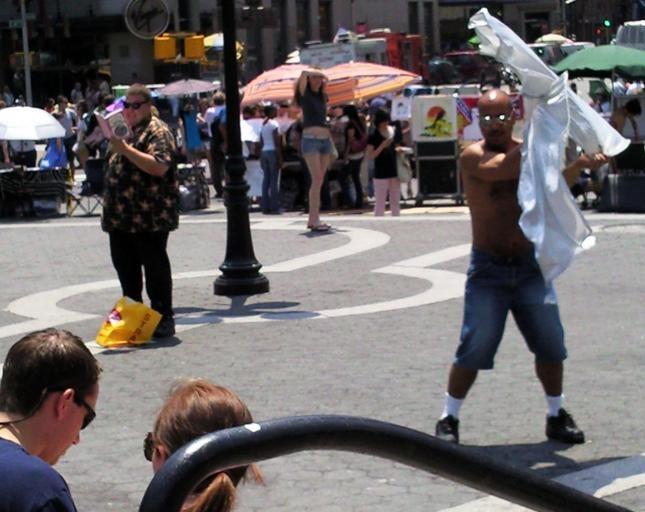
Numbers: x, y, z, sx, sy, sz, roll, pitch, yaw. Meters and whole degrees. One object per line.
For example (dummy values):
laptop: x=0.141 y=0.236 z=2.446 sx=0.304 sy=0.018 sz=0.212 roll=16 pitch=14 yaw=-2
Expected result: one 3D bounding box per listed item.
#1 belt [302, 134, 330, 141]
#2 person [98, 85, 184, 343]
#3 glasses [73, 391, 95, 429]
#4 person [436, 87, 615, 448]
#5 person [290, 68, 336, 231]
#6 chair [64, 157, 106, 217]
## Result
belt: x=-0.066 y=-1.412 z=15.576 sx=0.327 sy=0.084 sz=0.154 roll=-2 pitch=9 yaw=-6
person: x=-1.482 y=-0.323 z=10.383 sx=0.596 sy=2.030 sz=0.794 roll=2 pitch=10 yaw=18
glasses: x=-0.966 y=0.623 z=5.334 sx=0.139 sy=0.138 sz=0.042 roll=31 pitch=54 yaw=18
person: x=1.159 y=0.083 z=7.989 sx=0.932 sy=2.142 sz=0.541 roll=0 pitch=9 yaw=4
person: x=-0.105 y=-1.236 z=15.737 sx=0.445 sy=2.005 sz=0.731 roll=-1 pitch=9 yaw=0
chair: x=-3.592 y=-1.005 z=19.866 sx=0.616 sy=0.778 sz=0.512 roll=-6 pitch=0 yaw=34
